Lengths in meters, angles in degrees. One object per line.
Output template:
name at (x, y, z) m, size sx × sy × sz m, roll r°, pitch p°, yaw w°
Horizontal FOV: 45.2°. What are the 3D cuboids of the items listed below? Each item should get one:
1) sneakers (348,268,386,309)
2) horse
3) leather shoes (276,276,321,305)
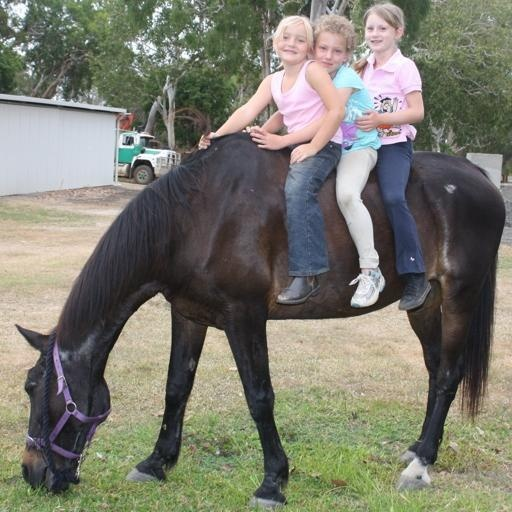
sneakers at (0.560, 0.154, 3.149) m, size 0.121 × 0.112 × 0.235 m, roll 9°, pitch 53°, yaw 43°
horse at (0.138, 0.311, 3.246) m, size 2.635 × 1.871 × 0.678 m, roll 0°, pitch 8°, yaw -23°
leather shoes at (0.229, 0.167, 2.957) m, size 0.090 × 0.170 × 0.239 m, roll 1°, pitch 4°, yaw 37°
